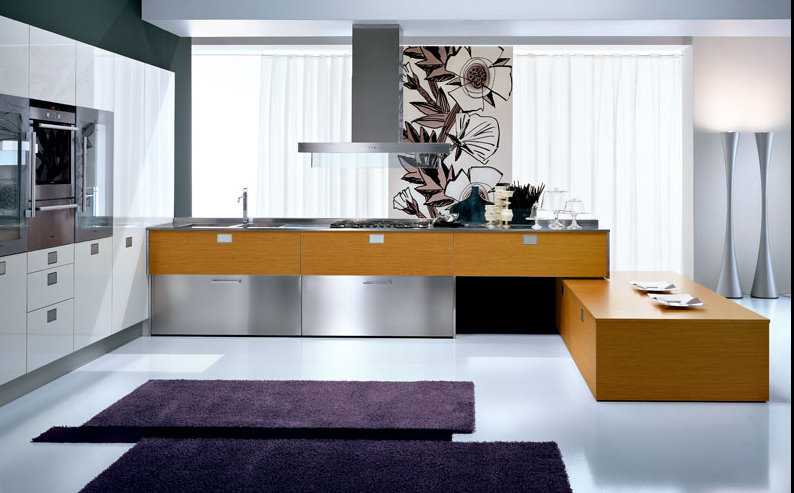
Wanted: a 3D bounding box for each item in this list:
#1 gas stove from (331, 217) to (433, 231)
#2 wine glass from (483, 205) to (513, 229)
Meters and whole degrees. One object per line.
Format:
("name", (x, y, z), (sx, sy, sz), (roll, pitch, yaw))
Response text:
("gas stove", (-0.155, -0.270, 5.973), (1.052, 0.061, 0.779), (0, 11, 0))
("wine glass", (1.068, -0.326, 5.965), (0.372, 0.273, 0.229), (2, 4, 19))
